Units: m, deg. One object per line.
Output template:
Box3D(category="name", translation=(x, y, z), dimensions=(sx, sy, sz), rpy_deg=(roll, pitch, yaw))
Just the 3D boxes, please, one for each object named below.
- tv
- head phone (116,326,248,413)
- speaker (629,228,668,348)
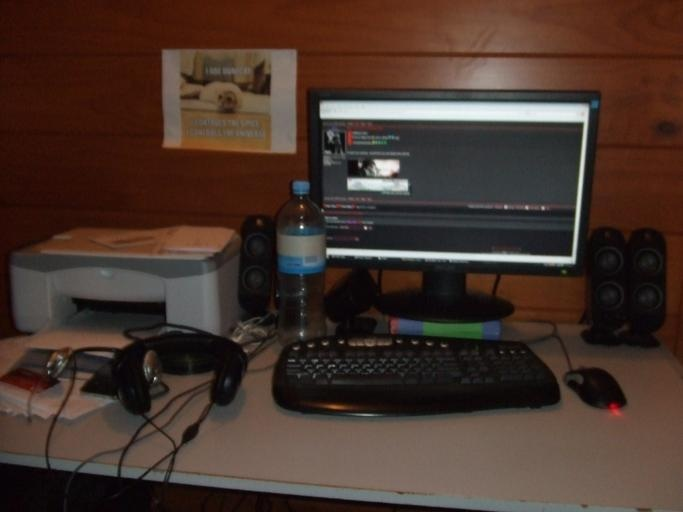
Box3D(category="tv", translation=(0.263, -0.142, 1.519), dimensions=(0.544, 0.442, 0.198), rpy_deg=(2, 11, 7))
Box3D(category="head phone", translation=(-0.331, 0.244, 1.317), dimensions=(0.234, 0.096, 0.253), rpy_deg=(7, 20, -6))
Box3D(category="speaker", translation=(0.735, 0.068, 1.562), dimensions=(0.127, 0.327, 0.119), rpy_deg=(2, 19, 26))
